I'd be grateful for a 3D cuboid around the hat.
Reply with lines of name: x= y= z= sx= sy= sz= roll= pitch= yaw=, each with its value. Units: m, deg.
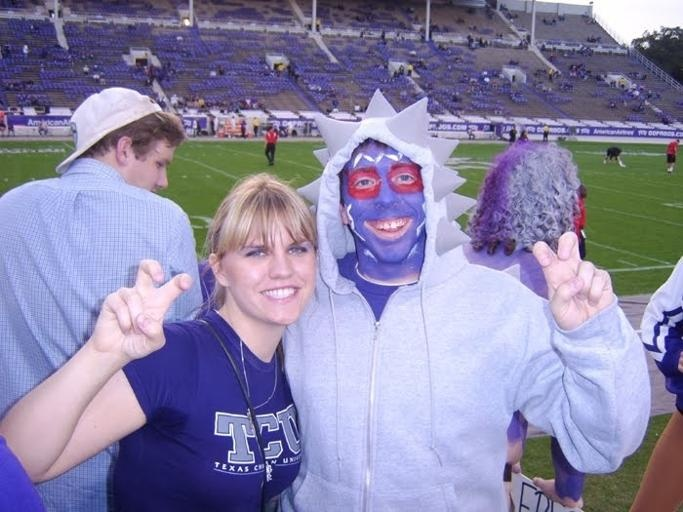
hat: x=-1.241 y=-0.739 z=3.827 sx=0.503 sy=0.273 sz=0.377 roll=-34 pitch=5 yaw=-5
